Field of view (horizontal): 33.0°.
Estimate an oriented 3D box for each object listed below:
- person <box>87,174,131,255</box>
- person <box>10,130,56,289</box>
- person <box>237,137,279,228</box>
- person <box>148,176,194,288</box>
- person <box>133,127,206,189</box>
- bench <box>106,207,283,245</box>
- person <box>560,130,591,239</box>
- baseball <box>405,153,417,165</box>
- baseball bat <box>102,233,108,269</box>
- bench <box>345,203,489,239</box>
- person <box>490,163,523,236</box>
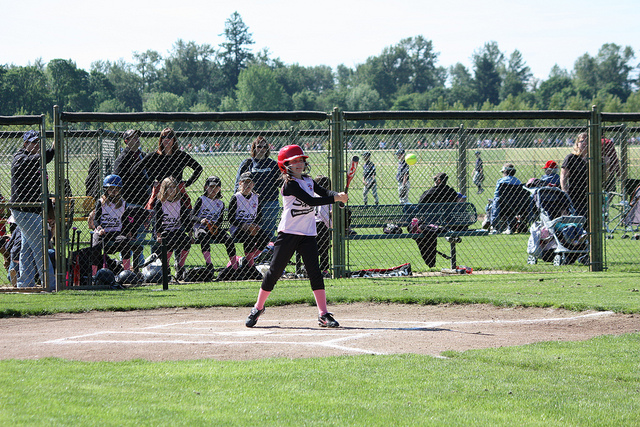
[{"bbox_3d":[-4.034,0.037,20.570,0.784,1.437,0.393,-1,5,-10],"label":"person"},{"bbox_3d":[-5.338,-0.039,19.970,0.799,2.922,0.557,-1,5,-14],"label":"person"},{"bbox_3d":[-1.244,-0.501,20.921,0.685,1.695,0.578,7,0,1],"label":"person"},{"bbox_3d":[-2.865,0.355,20.671,0.790,2.082,1.399,0,4,-3],"label":"person"},{"bbox_3d":[-3.000,-1.033,20.864,1.269,1.166,0.555,0,4,-5],"label":"person"},{"bbox_3d":[-2.541,0.415,20.770,3.443,1.060,0.921,1,7,-3],"label":"bench"},{"bbox_3d":[5.153,-0.772,21.750,0.501,1.719,1.282,1,4,10],"label":"person"},{"bbox_3d":[2.194,-1.286,26.338,0.256,0.245,0.244,-10,16,13],"label":"baseball"},{"bbox_3d":[-4.120,0.734,20.521,0.083,0.639,0.157,-1,5,-11],"label":"baseball bat"},{"bbox_3d":[1.817,0.178,21.109,2.697,0.695,0.608,-1,4,-15],"label":"bench"},{"bbox_3d":[4.171,-0.311,24.022,0.674,1.525,1.163,1,4,10],"label":"person"}]
